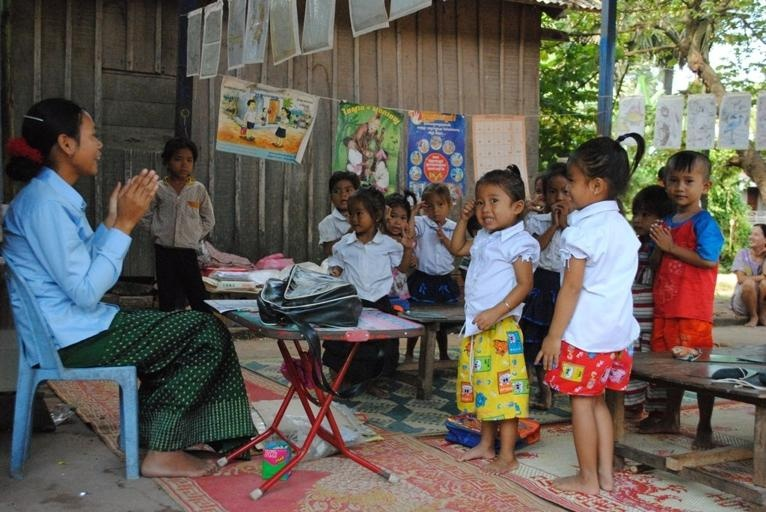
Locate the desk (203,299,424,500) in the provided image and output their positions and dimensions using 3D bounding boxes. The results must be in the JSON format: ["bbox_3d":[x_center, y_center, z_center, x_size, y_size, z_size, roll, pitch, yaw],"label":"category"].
[{"bbox_3d":[-0.560,0.899,5.696,1.430,1.171,1.618,4,0,-20],"label":"desk"}]

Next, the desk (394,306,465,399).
[{"bbox_3d":[0.409,0.878,7.074,0.830,0.683,0.763,0,3,-7],"label":"desk"}]

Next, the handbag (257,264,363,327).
[{"bbox_3d":[-0.497,0.287,5.270,0.537,0.169,0.413,4,19,-11],"label":"handbag"}]
